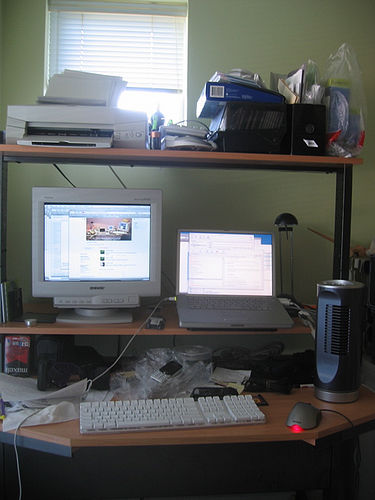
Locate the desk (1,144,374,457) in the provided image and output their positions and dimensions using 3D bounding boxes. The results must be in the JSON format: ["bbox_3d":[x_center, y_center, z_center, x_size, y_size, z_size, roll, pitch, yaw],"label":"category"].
[{"bbox_3d":[-0.048,0.165,1.532,1.261,1.086,0.397,0,1,-5],"label":"desk"}]

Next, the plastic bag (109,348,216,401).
[{"bbox_3d":[-0.101,0.403,1.460,0.205,0.065,0.154,-1,6,-14],"label":"plastic bag"}]

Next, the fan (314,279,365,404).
[{"bbox_3d":[0.441,0.271,1.333,0.137,0.344,0.074,4,7,18],"label":"fan"}]

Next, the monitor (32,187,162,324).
[{"bbox_3d":[-0.334,-0.021,1.663,0.448,0.470,0.287,0,17,-15],"label":"monitor"}]

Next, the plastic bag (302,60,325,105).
[{"bbox_3d":[0.423,-0.566,1.545,0.054,0.135,0.091,2,46,15],"label":"plastic bag"}]

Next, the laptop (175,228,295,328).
[{"bbox_3d":[0.158,0.090,1.568,0.393,0.269,0.322,-1,14,-15],"label":"laptop"}]
